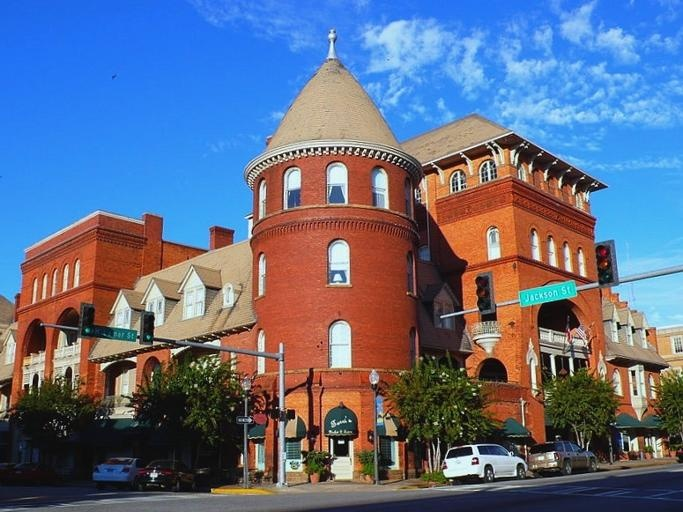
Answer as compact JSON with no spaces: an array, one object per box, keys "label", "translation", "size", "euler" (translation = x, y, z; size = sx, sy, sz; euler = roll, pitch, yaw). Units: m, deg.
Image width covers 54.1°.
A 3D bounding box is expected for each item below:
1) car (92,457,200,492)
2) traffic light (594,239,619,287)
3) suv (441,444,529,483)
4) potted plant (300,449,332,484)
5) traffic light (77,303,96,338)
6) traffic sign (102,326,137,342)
[{"label":"car","translation":[-10.341,10.999,33.560],"size":[6.726,1.806,2.846],"euler":[-15,-26,29]},{"label":"traffic light","translation":[7.874,0.090,19.941],"size":[0.593,1.373,1.452],"euler":[-10,-24,20]},{"label":"suv","translation":[7.029,9.676,31.210],"size":[4.642,1.656,1.710],"euler":[14,-27,-33]},{"label":"potted plant","translation":[-1.298,10.421,33.098],"size":[0.886,1.270,0.953],"euler":[10,-15,-29]},{"label":"traffic light","translation":[-9.387,2.312,24.794],"size":[0.516,1.260,0.638],"euler":[3,-23,-12]},{"label":"traffic sign","translation":[-8.782,3.040,26.644],"size":[1.286,0.569,0.948],"euler":[13,-27,-32]}]
